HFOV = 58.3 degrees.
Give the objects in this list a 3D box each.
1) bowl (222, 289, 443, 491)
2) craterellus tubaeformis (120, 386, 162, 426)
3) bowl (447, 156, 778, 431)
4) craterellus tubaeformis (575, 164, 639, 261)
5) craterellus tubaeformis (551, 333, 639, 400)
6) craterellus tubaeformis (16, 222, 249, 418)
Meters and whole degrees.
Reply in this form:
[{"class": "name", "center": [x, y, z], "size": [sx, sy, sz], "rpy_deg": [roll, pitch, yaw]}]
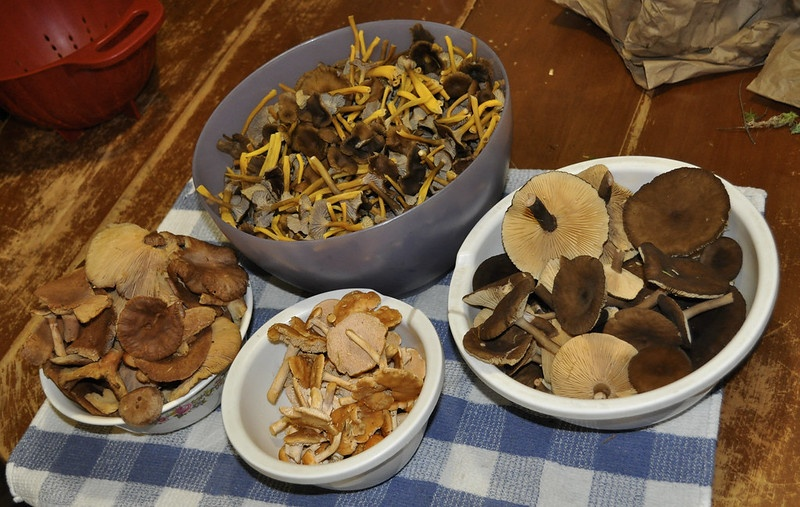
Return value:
[{"class": "bowl", "center": [-0.129, 0.327, 1.486], "size": [0.391, 0.175, 0.427], "rpy_deg": [-9, 55, 13]}, {"class": "craterellus tubaeformis", "center": [-0.542, 0.318, 1.504], "size": [0.088, 0.031, 0.075], "rpy_deg": [-14, 65, -8]}, {"class": "bowl", "center": [0.443, 0.144, 1.388], "size": [0.541, 0.214, 0.586], "rpy_deg": [-11, 56, 17]}, {"class": "craterellus tubaeformis", "center": [0.427, -0.078, 1.489], "size": [0.103, 0.117, 0.115], "rpy_deg": [35, 69, 21]}, {"class": "craterellus tubaeformis", "center": [0.395, 0.255, 1.398], "size": [0.155, 0.171, 0.053], "rpy_deg": [-14, 20, -35]}, {"class": "craterellus tubaeformis", "center": [-0.542, 0.134, 1.570], "size": [0.374, 0.183, 0.442], "rpy_deg": [32, 77, 7]}]
